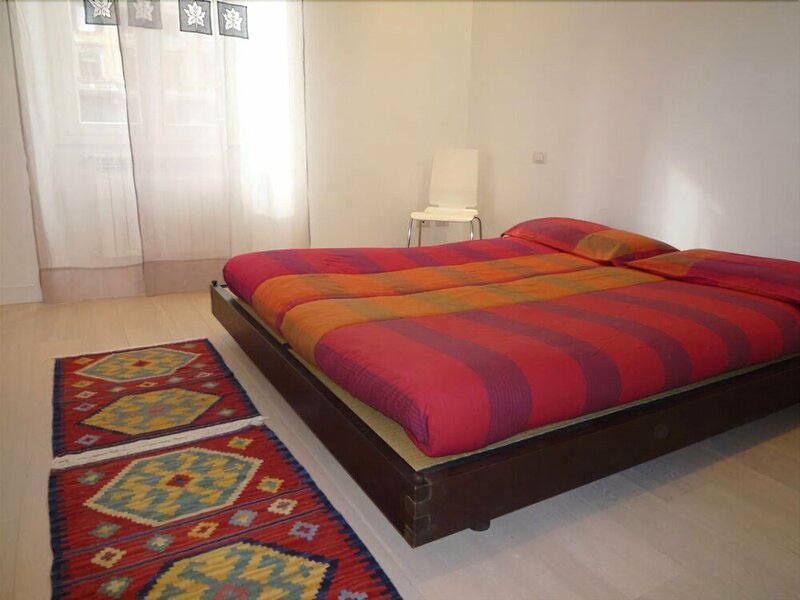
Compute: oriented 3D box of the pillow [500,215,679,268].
[{"bbox_3d":[1.148,-0.395,3.346,0.450,0.142,0.691,-15,22,-35],"label":"pillow"}]
